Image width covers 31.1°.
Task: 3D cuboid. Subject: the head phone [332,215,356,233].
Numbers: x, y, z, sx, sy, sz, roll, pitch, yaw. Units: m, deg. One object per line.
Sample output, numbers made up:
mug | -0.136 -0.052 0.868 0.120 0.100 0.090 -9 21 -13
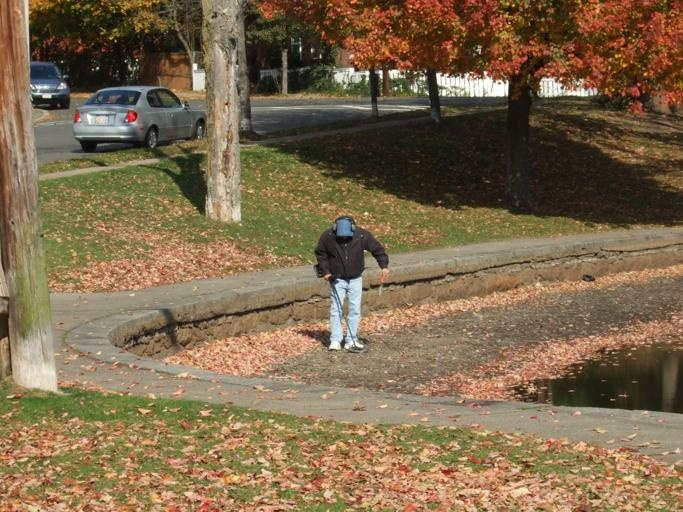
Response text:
head phone | 0.053 -0.564 20.544 0.297 0.304 0.226 1 55 7

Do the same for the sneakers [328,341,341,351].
sneakers | -0.117 1.527 21.161 0.204 0.088 0.241 0 2 3

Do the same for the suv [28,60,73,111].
suv | -10.923 -6.653 45.145 1.661 1.229 2.721 -6 27 -13

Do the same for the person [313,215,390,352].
person | 0.141 0.458 20.886 1.145 2.392 0.691 -2 11 -3

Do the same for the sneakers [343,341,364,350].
sneakers | 0.233 1.520 21.267 0.354 0.137 0.159 -2 2 29

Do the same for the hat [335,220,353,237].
hat | 0.037 -0.478 20.455 0.294 0.245 0.308 1 -9 5

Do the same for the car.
car | -5.282 -3.722 32.335 1.539 1.526 3.214 4 12 25
